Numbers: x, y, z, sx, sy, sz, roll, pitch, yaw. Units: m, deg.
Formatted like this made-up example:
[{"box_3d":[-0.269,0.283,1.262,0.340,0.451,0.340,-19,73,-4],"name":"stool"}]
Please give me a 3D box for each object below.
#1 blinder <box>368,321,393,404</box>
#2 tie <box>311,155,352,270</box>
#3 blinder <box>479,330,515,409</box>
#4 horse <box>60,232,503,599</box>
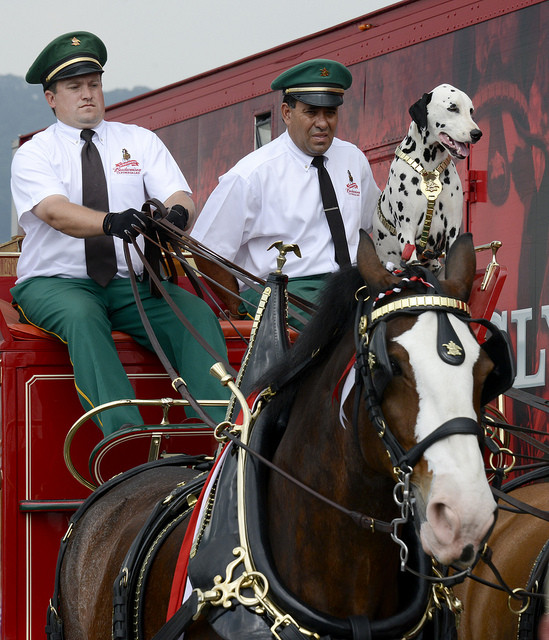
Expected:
[{"box_3d":[0.253,0.103,3.425,0.054,0.193,0.114,-7,4,3],"name":"blinder"},{"box_3d":[0.236,-0.425,5.711,0.092,0.536,0.059,-14,-20,-1],"name":"tie"},{"box_3d":[0.537,0.120,3.465,0.091,0.182,0.104,-6,4,8],"name":"blinder"},{"box_3d":[0.011,0.298,3.807,0.684,1.001,1.473,-10,5,-38],"name":"horse"}]
